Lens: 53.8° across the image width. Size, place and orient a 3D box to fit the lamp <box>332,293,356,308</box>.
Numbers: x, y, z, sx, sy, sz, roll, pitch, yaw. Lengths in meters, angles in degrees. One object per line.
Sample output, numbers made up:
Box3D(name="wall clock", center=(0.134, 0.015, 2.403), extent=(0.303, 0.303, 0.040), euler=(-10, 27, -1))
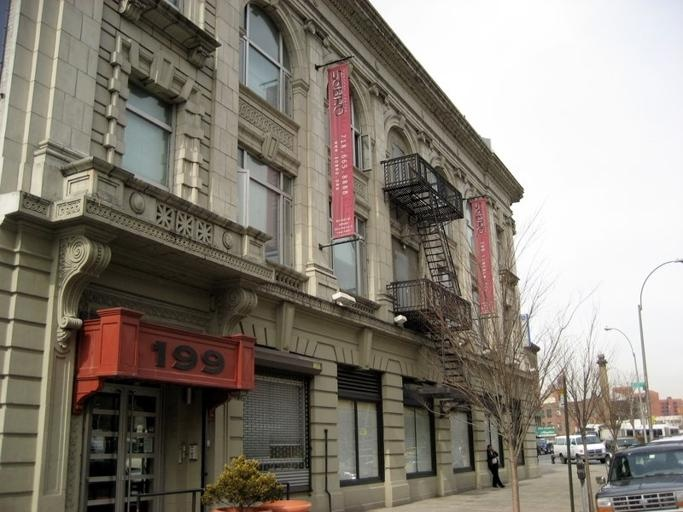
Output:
Box3D(name="lamp", center=(-0.017, 1.461, 21.786), extent=(0.431, 0.222, 0.648), euler=(-16, -31, 35))

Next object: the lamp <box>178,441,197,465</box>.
Box3D(name="lamp", center=(-3.716, 4.811, 16.300), extent=(0.472, 0.449, 0.131), euler=(0, -22, -15))

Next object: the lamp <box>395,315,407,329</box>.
Box3D(name="lamp", center=(2.149, 2.452, 25.145), extent=(0.434, 0.297, 0.429), euler=(20, -37, -40))
